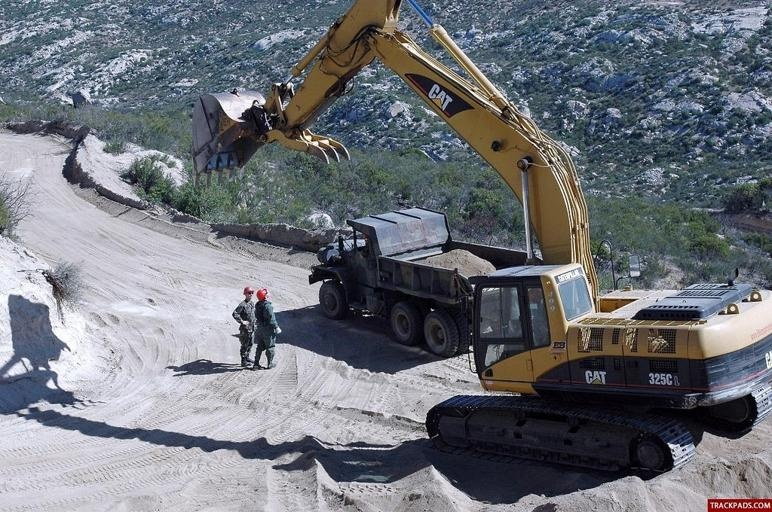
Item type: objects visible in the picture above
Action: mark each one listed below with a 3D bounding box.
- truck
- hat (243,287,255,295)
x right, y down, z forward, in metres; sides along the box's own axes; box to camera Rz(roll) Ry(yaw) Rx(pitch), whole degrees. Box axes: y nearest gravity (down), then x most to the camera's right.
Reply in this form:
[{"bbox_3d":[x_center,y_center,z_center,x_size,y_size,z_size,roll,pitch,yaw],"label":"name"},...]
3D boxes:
[{"bbox_3d":[1.061,0.518,24.639,6.052,2.762,3.269,16,23,40],"label":"truck"},{"bbox_3d":[-3.657,0.934,23.199,0.276,0.144,0.359,0,-3,-21],"label":"hat"}]
